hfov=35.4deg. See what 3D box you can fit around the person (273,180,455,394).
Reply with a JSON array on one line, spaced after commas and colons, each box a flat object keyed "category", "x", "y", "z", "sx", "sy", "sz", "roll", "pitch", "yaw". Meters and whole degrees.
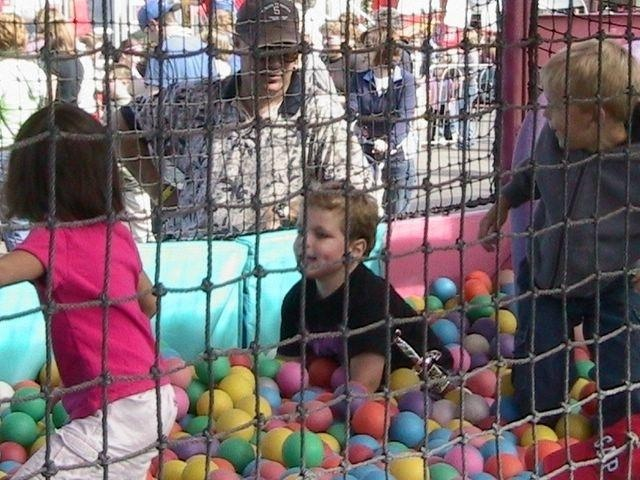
[{"category": "person", "x": 0.166, "y": 0.248, "z": 5.007, "sx": 0.860, "sy": 1.041, "sz": 0.687, "roll": -5, "pitch": 12, "yaw": -45}]
